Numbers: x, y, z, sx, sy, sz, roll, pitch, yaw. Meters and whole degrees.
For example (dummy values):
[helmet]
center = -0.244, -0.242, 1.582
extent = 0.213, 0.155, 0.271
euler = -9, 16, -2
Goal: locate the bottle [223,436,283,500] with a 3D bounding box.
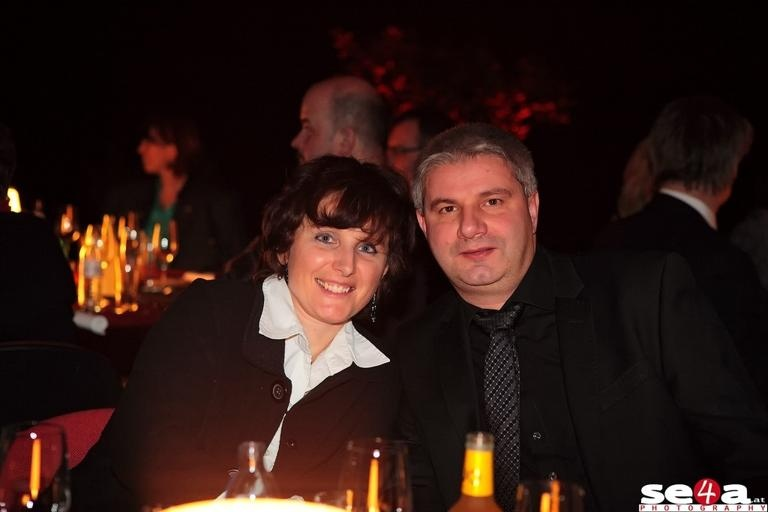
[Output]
[bottle]
center = -0.438, 0.694, 2.273
extent = 0.201, 0.259, 0.186
euler = 1, 5, 0
